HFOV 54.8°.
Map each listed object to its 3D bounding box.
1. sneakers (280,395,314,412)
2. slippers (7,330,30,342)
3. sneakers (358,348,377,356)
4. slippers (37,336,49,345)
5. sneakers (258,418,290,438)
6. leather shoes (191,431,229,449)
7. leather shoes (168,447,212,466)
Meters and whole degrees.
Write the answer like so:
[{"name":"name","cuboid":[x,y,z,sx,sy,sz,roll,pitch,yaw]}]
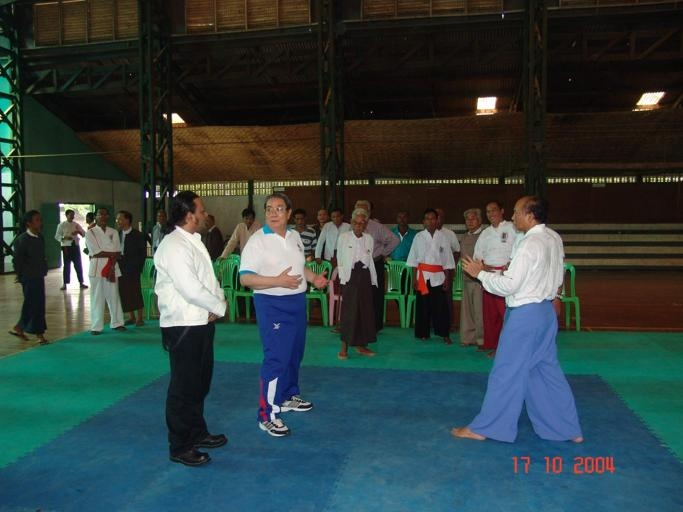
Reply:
[{"name":"sneakers","cuboid":[-0.483,1.601,7.137,0.354,0.181,0.145,0,0,2]},{"name":"slippers","cuboid":[-4.752,1.176,9.688,0.216,0.098,0.080,30,23,-24]},{"name":"sneakers","cuboid":[0.331,1.279,8.879,0.174,0.067,0.099,0,4,27]},{"name":"slippers","cuboid":[-4.249,1.218,9.486,0.229,0.095,0.078,2,5,3]},{"name":"sneakers","cuboid":[-0.681,1.731,6.669,0.312,0.141,0.138,1,1,33]},{"name":"leather shoes","cuboid":[-1.306,1.805,6.482,0.281,0.132,0.140,-4,5,-4]},{"name":"leather shoes","cuboid":[-1.439,1.888,6.221,0.302,0.129,0.171,4,8,2]}]
